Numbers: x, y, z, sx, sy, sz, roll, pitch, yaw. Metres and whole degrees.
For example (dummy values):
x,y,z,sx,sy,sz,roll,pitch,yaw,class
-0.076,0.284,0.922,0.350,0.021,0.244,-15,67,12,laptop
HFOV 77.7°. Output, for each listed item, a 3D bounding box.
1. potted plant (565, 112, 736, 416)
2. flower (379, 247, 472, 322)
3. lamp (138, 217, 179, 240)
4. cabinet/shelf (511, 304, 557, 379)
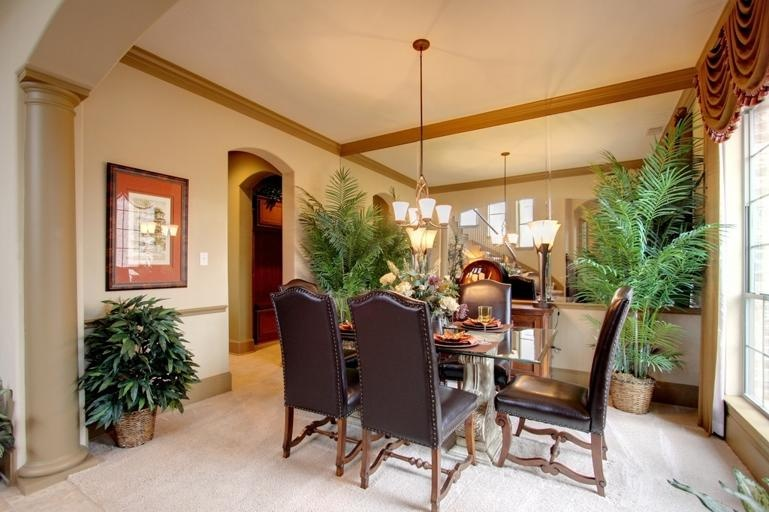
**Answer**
x,y,z,sx,sy,sz,roll,pitch,yaw,class
2.581,0.076,5.051,1.234,2.398,1.206,1,-15,10,potted plant
0.333,0.270,4.391,0.672,0.696,0.635,0,-4,1,flower
-2.287,-0.283,4.761,0.296,0.120,0.232,4,1,30,lamp
1.635,0.992,5.471,0.564,0.916,0.442,4,9,29,cabinet/shelf
